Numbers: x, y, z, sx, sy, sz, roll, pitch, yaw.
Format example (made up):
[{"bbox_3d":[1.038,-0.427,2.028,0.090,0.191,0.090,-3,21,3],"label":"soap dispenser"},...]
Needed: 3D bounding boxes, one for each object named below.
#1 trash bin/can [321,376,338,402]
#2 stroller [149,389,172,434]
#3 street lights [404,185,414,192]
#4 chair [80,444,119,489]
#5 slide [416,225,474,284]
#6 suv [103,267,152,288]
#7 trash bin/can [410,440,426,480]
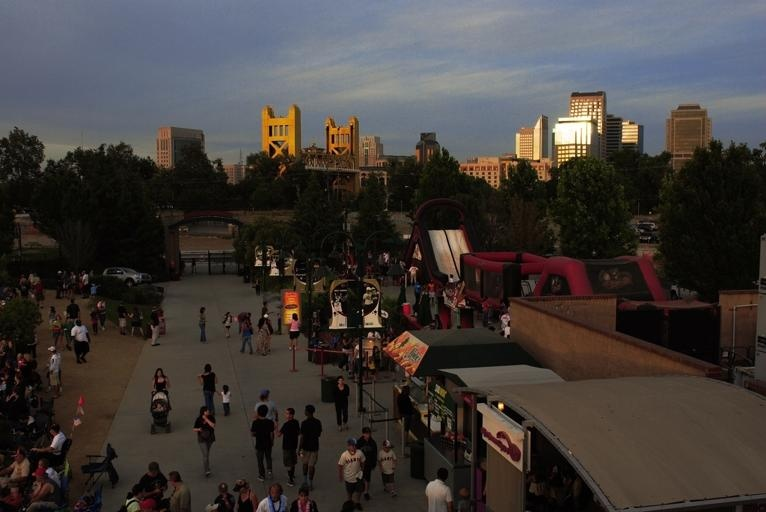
[{"bbox_3d":[-1.964,4.835,26.454,0.525,0.906,0.975,-4,8,-21],"label":"trash bin/can"},{"bbox_3d":[-7.424,5.035,23.888,0.619,1.469,0.411,-3,7,-15],"label":"stroller"},{"bbox_3d":[3.712,-10.088,106.745,0.874,0.948,0.278,2,19,-2],"label":"street lights"},{"bbox_3d":[-8.139,5.905,20.617,0.996,0.964,0.740,-5,8,-31],"label":"chair"},{"bbox_3d":[4.238,-0.267,49.811,2.261,1.232,4.478,1,37,-8],"label":"slide"},{"bbox_3d":[-19.667,1.629,54.952,3.102,1.310,1.561,1,4,18],"label":"suv"},{"bbox_3d":[1.016,5.886,21.112,0.432,1.027,0.362,0,7,4],"label":"trash bin/can"}]
